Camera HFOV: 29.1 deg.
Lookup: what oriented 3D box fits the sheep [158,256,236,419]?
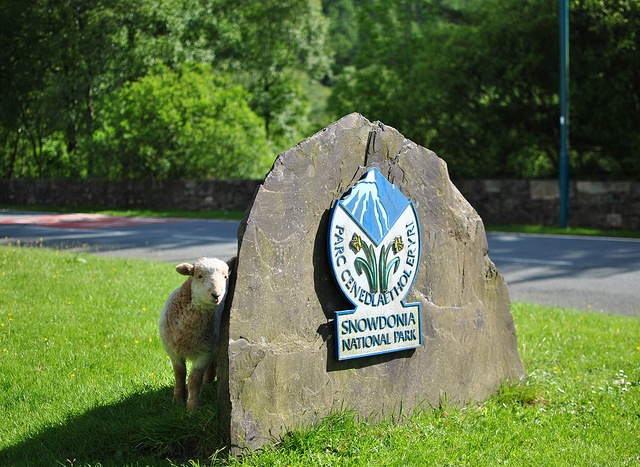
[{"bbox_3d":[-2.329,1.692,21.765,0.896,2.599,2.787,1,0,-22],"label":"sheep"}]
